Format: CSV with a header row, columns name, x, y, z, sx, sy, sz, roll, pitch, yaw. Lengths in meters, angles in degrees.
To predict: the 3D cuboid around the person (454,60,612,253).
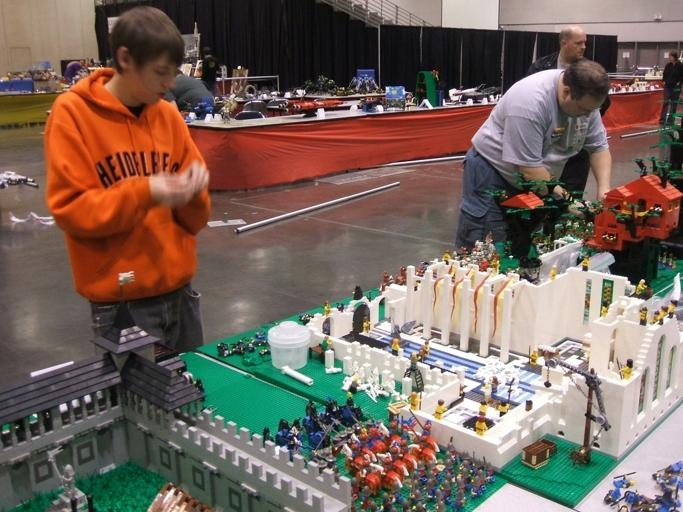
name,x,y,z,sx,sy,sz,roll,pitch,yaw
person,1.524,-0.678,3.611,1.149,1.390,0.959,-6,18,-8
